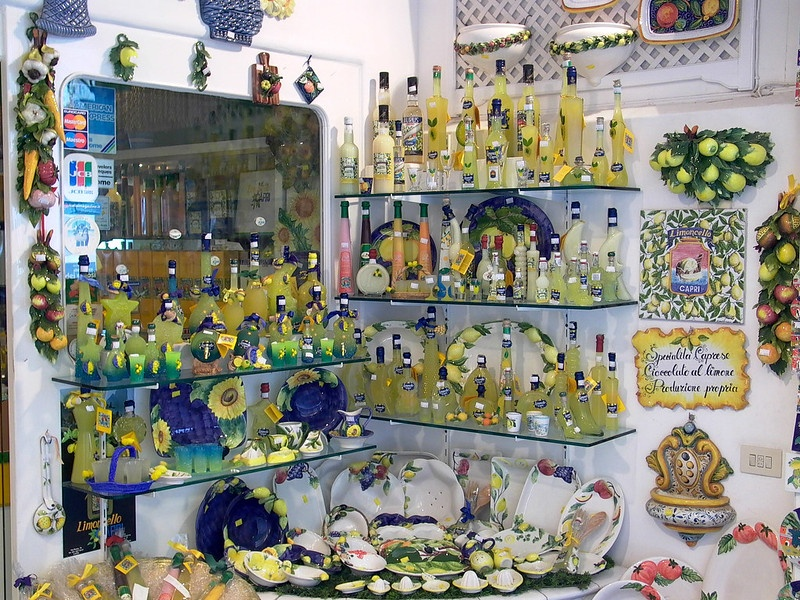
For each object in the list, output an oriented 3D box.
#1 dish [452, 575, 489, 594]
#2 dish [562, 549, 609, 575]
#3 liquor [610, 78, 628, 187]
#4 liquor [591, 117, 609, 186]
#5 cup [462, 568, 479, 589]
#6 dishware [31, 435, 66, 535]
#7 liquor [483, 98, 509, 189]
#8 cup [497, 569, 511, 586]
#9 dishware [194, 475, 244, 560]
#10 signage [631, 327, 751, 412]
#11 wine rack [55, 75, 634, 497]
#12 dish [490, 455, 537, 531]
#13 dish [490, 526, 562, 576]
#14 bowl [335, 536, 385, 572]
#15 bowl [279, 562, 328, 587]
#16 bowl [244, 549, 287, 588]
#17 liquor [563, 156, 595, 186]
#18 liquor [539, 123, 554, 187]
[{"bbox_3d":[0.285,1.154,3.156,0.085,0.048,0.090,-1,3,-8],"label":"dish"},{"bbox_3d":[0.780,1.112,3.272,0.148,0.038,0.105,10,25,11],"label":"dish"},{"bbox_3d":[0.932,-0.708,3.312,0.075,0.449,0.099,0,3,16],"label":"liquor"},{"bbox_3d":[0.857,-0.631,3.322,0.072,0.292,0.178,-1,4,14],"label":"liquor"},{"bbox_3d":[0.287,1.136,3.158,0.055,0.054,0.059,2,-6,0],"label":"cup"},{"bbox_3d":[-1.333,0.697,2.913,0.111,0.396,0.029,-3,4,-29],"label":"dishware"},{"bbox_3d":[0.423,-0.683,3.400,0.091,0.385,0.140,-1,3,9],"label":"liquor"},{"bbox_3d":[0.426,1.135,3.163,0.044,0.045,0.046,2,-16,1],"label":"cup"},{"bbox_3d":[-0.793,0.916,3.289,0.064,0.298,0.268,2,-10,36],"label":"dishware"},{"bbox_3d":[1.236,0.289,3.229,0.333,0.266,0.016,1,7,37],"label":"signage"},{"bbox_3d":[-0.242,-0.064,3.345,1.801,1.342,0.535,0,-2,-38],"label":"wine rack"},{"bbox_3d":[0.500,0.886,3.599,0.194,0.311,0.043,6,-6,37],"label":"dish"},{"bbox_3d":[0.558,1.077,3.351,0.178,0.085,0.164,9,8,32],"label":"dish"},{"bbox_3d":[-0.172,1.095,3.317,0.173,0.092,0.240,-4,5,-27],"label":"bowl"},{"bbox_3d":[-0.392,1.126,3.208,0.177,0.103,0.109,-2,4,-5],"label":"bowl"},{"bbox_3d":[-0.556,1.107,3.189,0.141,0.058,0.139,31,5,-3],"label":"bowl"},{"bbox_3d":[0.748,-0.539,3.247,0.131,0.131,0.135,1,5,35],"label":"liquor"},{"bbox_3d":[0.625,-0.598,3.325,0.065,0.233,0.167,-1,4,13],"label":"liquor"}]
